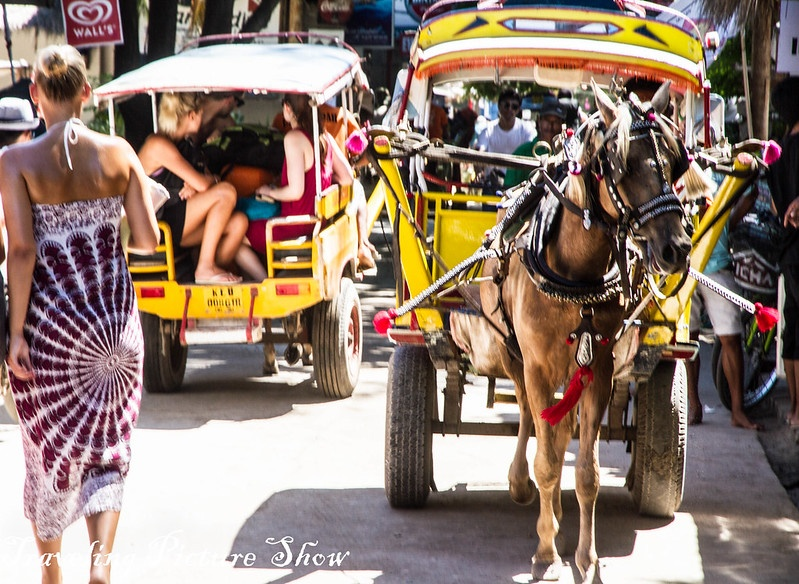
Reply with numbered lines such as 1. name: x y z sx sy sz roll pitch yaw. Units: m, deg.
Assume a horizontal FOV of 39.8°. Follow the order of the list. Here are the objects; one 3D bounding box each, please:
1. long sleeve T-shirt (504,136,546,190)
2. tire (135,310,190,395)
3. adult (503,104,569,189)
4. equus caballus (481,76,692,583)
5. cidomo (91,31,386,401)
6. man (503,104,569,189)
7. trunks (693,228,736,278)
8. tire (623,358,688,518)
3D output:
1. long sleeve T-shirt: 1.014 -1.023 8.932 0.393 0.479 0.154 17 -5 -34
2. tire: -2.258 0.557 10.619 0.218 0.865 0.774 -3 13 6
3. adult: 1.144 -1.240 9.024 0.462 0.825 0.255 1 -12 11
4. equus caballus: 1.136 0.309 6.747 0.615 3.148 1.690 -5 11 -27
5. cidomo: -1.546 -0.709 11.480 1.999 3.630 4.142 -4 5 5
6. man: 1.140 -1.179 8.985 0.462 0.825 0.255 1 -12 11
7. trunks: 2.448 -0.303 8.594 0.187 0.435 0.294 1 17 14
8. tire: 1.795 1.009 7.702 0.290 1.205 0.927 1 7 8
